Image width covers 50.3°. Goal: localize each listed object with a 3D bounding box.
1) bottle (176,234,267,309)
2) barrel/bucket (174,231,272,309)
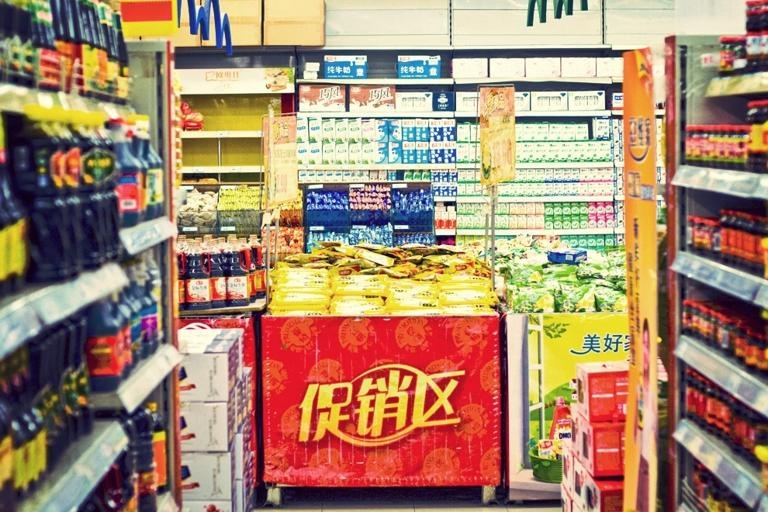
[{"bbox_3d":[-1.038,0.097,4.967,0.559,0.504,0.322,-2,3,-28],"label":"bottle"},{"bbox_3d":[-0.959,0.090,4.955,0.567,0.499,0.319,-2,3,-38],"label":"barrel/bucket"}]
